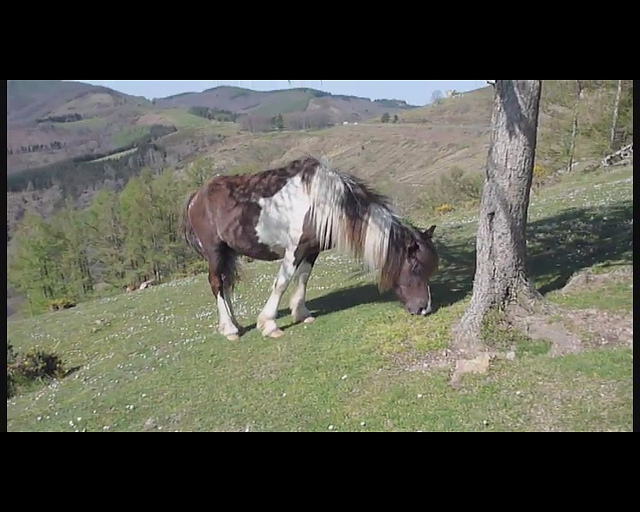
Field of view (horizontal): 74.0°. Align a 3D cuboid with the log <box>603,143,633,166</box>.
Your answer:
[{"bbox_3d":[7.619,-2.571,10.764,0.737,0.467,0.279,-11,11,-5],"label":"log"}]
